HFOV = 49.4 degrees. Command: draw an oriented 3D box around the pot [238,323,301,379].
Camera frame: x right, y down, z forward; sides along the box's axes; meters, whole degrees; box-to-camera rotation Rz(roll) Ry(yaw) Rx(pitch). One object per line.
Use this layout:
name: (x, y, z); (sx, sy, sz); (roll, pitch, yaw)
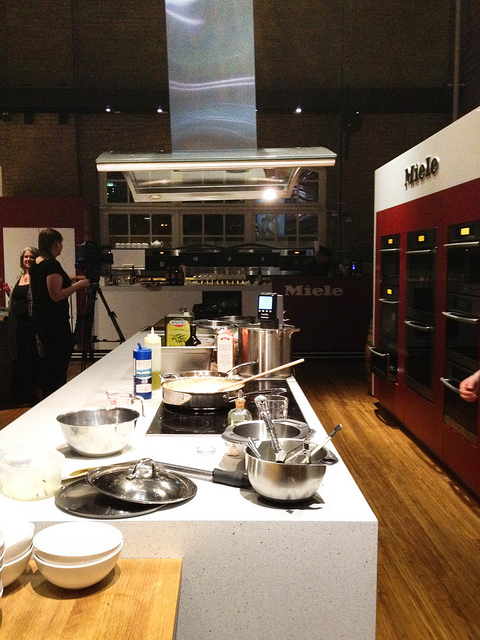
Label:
pot: (0.109, 0.143, 2.455); (0.277, 0.241, 0.220); (-1, 2, -17)

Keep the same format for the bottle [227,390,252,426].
bottle: (-0.017, 0.271, 1.552); (0.074, 0.115, 0.070); (0, -3, 0)

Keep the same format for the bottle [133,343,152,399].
bottle: (-0.369, 0.196, 1.969); (0.062, 0.210, 0.070); (-1, 6, -17)

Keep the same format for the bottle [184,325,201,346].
bottle: (-0.254, 0.089, 2.819); (0.097, 0.141, 0.098); (0, 0, 0)

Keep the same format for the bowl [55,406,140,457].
bowl: (-0.357, 0.303, 1.421); (0.213, 0.100, 0.220); (1, 3, 0)

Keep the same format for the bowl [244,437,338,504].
bowl: (0.097, 0.309, 1.084); (0.172, 0.068, 0.113); (1, 1, -8)

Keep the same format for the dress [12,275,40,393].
dress: (-1.943, 0.148, 4.727); (0.208, 1.079, 0.782); (-1, 6, -22)
